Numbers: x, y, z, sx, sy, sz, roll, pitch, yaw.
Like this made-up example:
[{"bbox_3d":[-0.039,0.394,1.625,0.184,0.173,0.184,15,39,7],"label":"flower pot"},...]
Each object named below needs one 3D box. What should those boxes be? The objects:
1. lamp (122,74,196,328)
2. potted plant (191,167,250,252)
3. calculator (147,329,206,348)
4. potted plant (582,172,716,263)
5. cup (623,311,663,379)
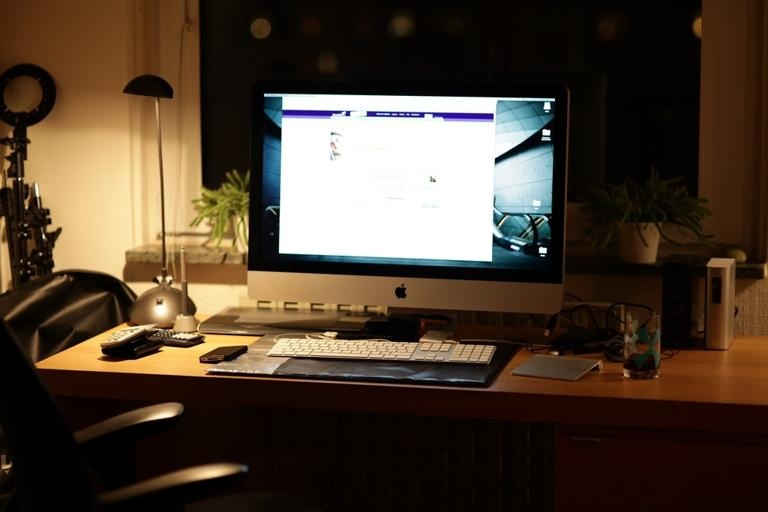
[{"bbox_3d":[-0.790,-0.214,2.198,0.205,0.858,0.517,-4,6,-21],"label":"lamp"},{"bbox_3d":[-0.540,-0.161,2.458,0.295,0.275,0.291,2,-6,0],"label":"potted plant"},{"bbox_3d":[-0.613,0.245,1.913,0.090,0.022,0.066,3,9,13],"label":"calculator"},{"bbox_3d":[0.878,-0.113,2.172,0.439,0.272,0.433,6,-2,1],"label":"potted plant"},{"bbox_3d":[0.671,0.231,1.682,0.088,0.158,0.101,0,6,19],"label":"cup"}]
